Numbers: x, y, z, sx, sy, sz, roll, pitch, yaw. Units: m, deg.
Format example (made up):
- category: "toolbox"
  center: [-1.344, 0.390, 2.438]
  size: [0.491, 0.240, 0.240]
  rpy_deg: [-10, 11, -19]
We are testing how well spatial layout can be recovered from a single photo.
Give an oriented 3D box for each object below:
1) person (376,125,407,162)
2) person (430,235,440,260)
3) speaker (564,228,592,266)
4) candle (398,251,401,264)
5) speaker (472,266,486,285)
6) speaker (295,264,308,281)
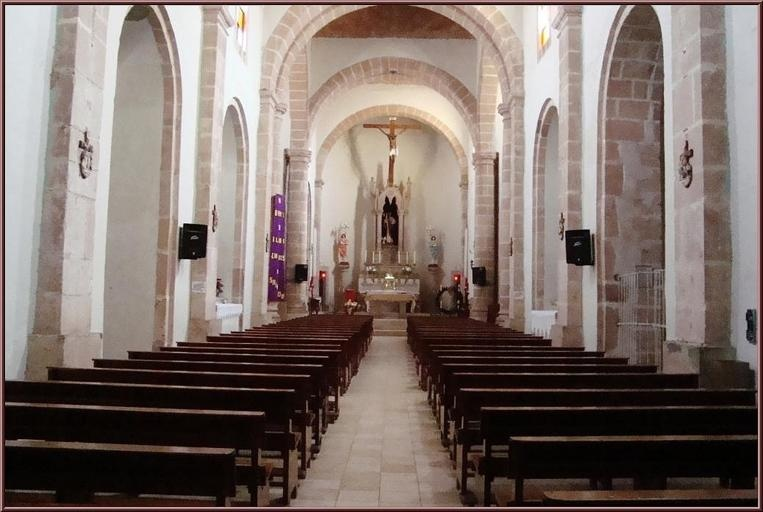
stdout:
- category: "person"
  center: [0.345, -4.622, 29.500]
  size: [1.571, 1.610, 0.422]
  rpy_deg: [-1, 7, -4]
- category: "person"
  center: [2.162, -0.337, 29.502]
  size: [0.312, 1.179, 0.544]
  rpy_deg: [-4, -5, 32]
- category: "speaker"
  center: [3.300, -0.136, 12.043]
  size: [0.177, 0.604, 0.639]
  rpy_deg: [2, -5, -29]
- category: "candle"
  center: [0.764, 0.023, 29.412]
  size: [0.140, 0.455, 0.066]
  rpy_deg: [1, -5, -24]
- category: "speaker"
  center: [2.829, 0.573, 20.721]
  size: [0.387, 0.607, 0.379]
  rpy_deg: [-1, -4, 9]
- category: "speaker"
  center: [-2.239, 0.447, 19.923]
  size: [0.419, 0.616, 0.409]
  rpy_deg: [0, -10, -7]
